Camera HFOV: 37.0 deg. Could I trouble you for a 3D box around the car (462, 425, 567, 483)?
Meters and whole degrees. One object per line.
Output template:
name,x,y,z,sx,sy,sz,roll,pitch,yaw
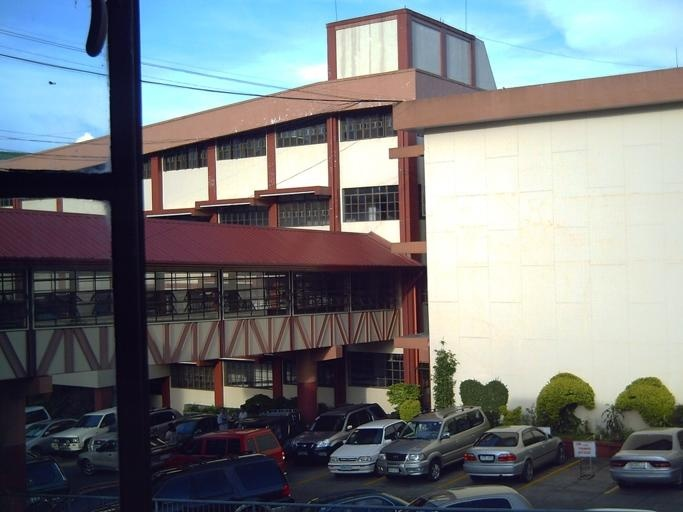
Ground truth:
car,6.203,7.074,36.526,3.772,1.823,1.620,0,-4,-44
